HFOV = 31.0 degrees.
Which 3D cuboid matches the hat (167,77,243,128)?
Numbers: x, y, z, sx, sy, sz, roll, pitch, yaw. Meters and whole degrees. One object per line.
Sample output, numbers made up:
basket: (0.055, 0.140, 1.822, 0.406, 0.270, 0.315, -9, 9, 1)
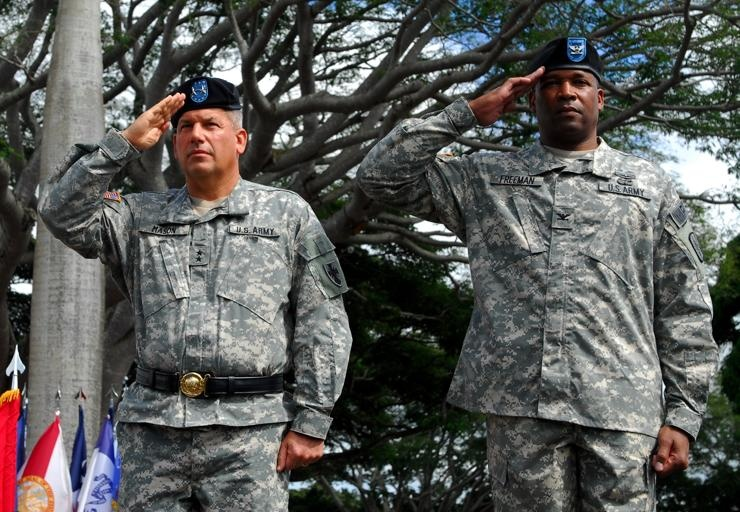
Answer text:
hat: (-1.307, -1.201, 10.637, 0.470, 0.178, 0.518, -14, -18, 0)
